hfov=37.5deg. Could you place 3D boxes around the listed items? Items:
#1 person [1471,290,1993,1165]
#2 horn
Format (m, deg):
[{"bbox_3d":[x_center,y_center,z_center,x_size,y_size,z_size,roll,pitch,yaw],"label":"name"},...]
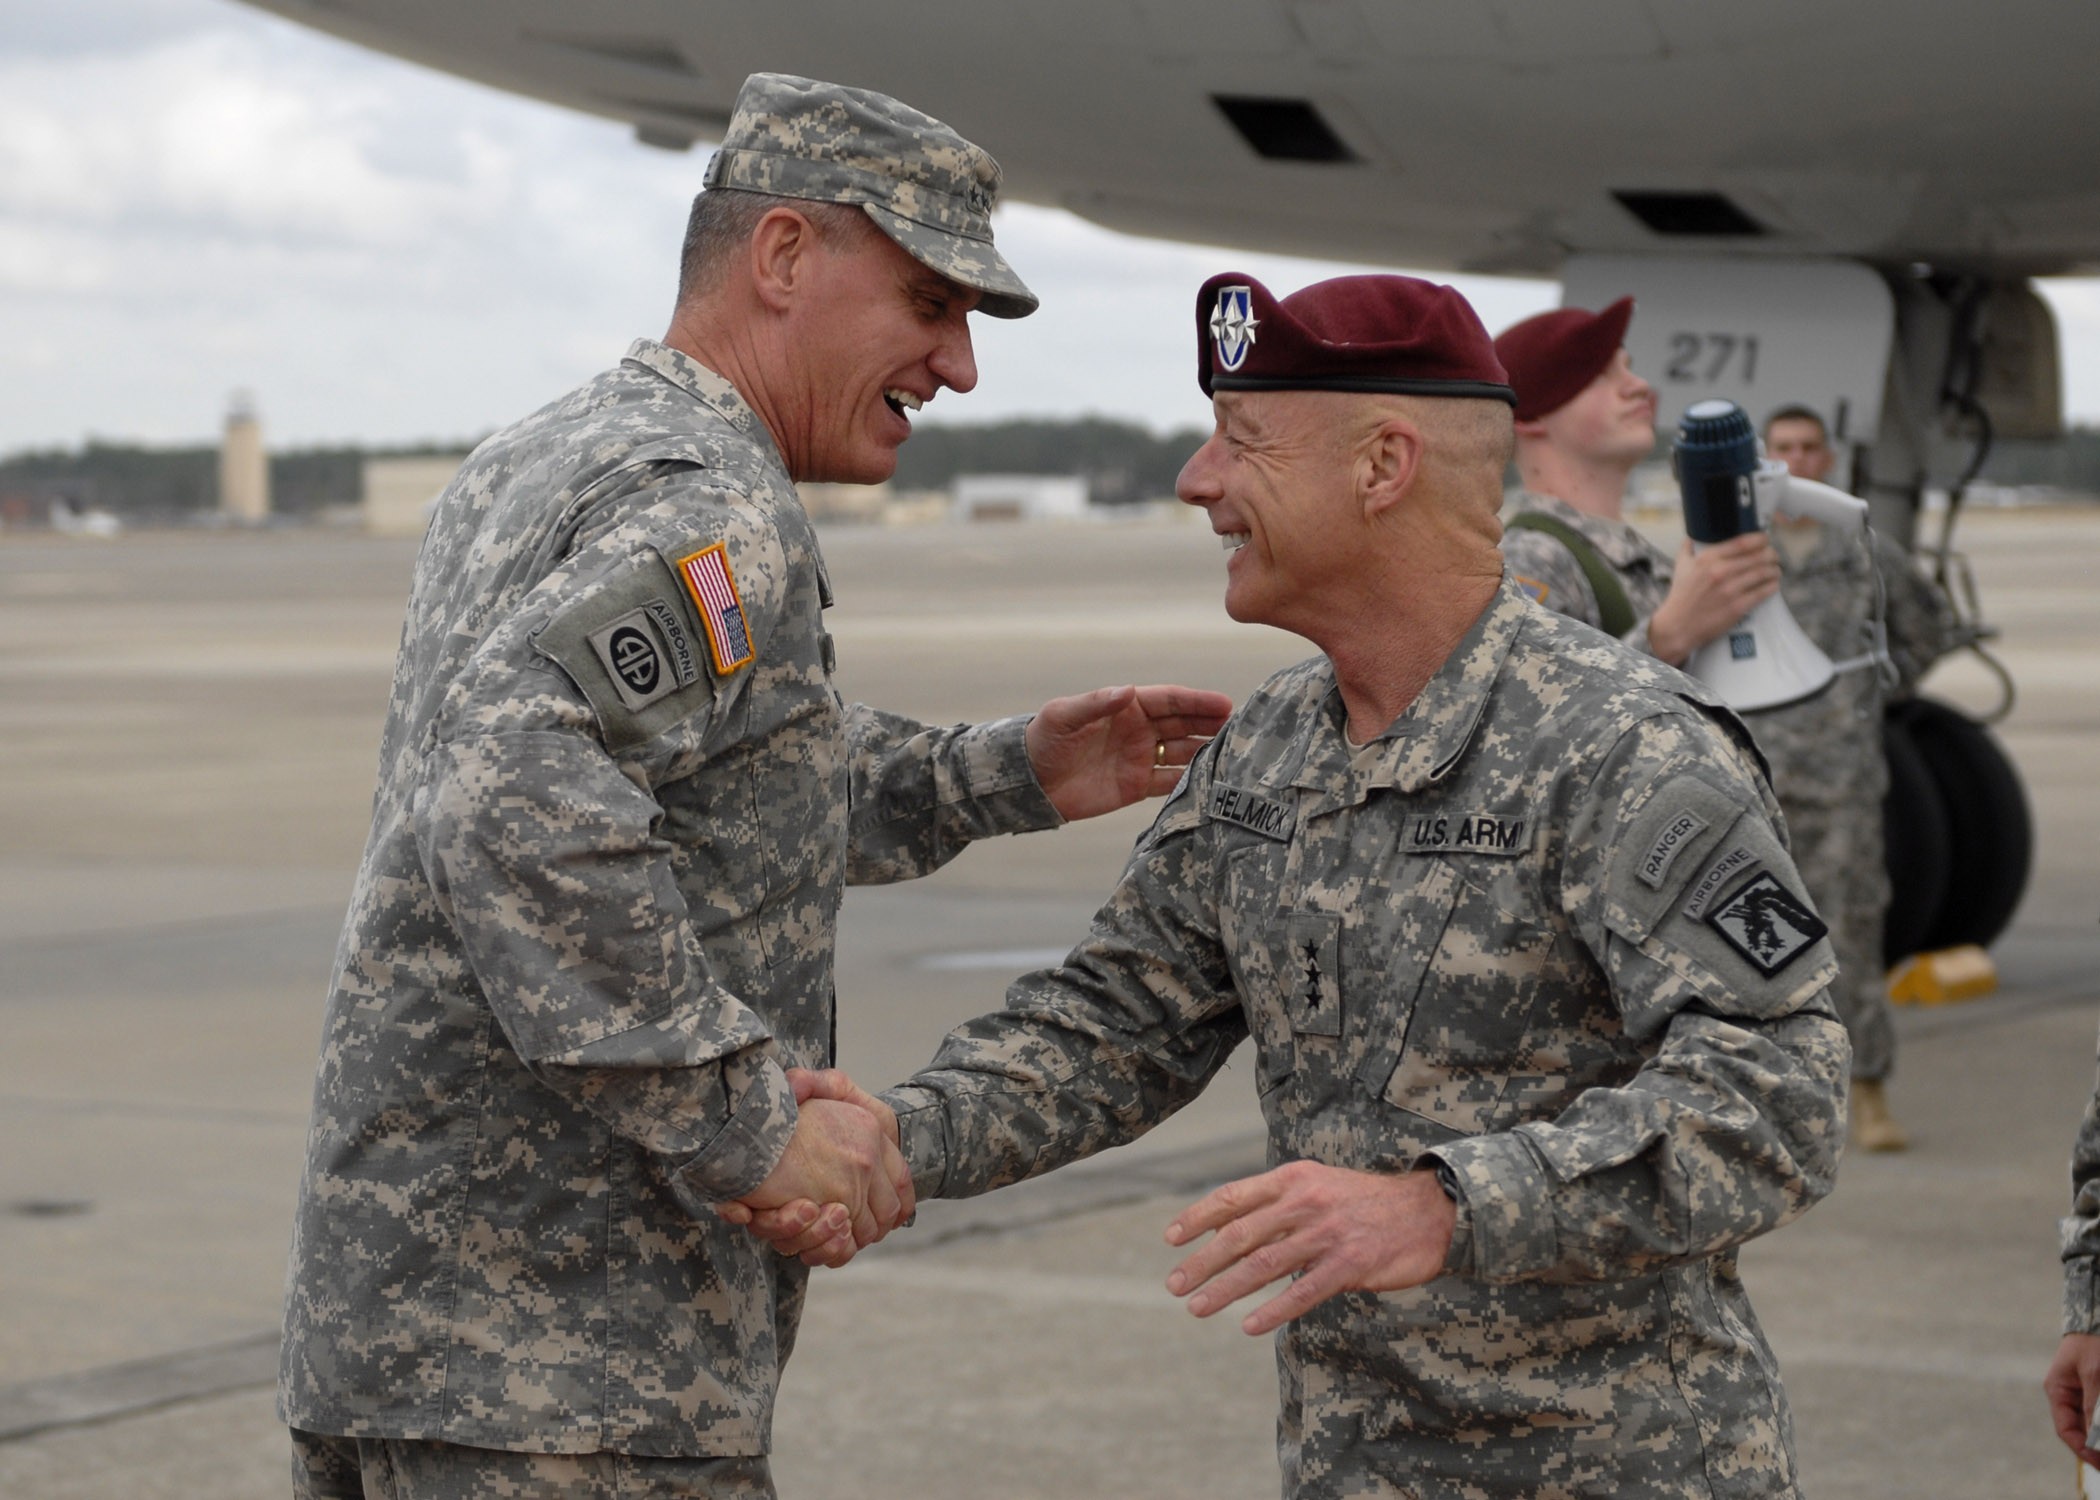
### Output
[{"bbox_3d":[1.414,-0.115,6.328,0.578,2.242,0.781,1,19,44],"label":"person"},{"bbox_3d":[1.484,-0.410,6.347,0.424,0.588,0.282,-5,13,7],"label":"horn"}]
